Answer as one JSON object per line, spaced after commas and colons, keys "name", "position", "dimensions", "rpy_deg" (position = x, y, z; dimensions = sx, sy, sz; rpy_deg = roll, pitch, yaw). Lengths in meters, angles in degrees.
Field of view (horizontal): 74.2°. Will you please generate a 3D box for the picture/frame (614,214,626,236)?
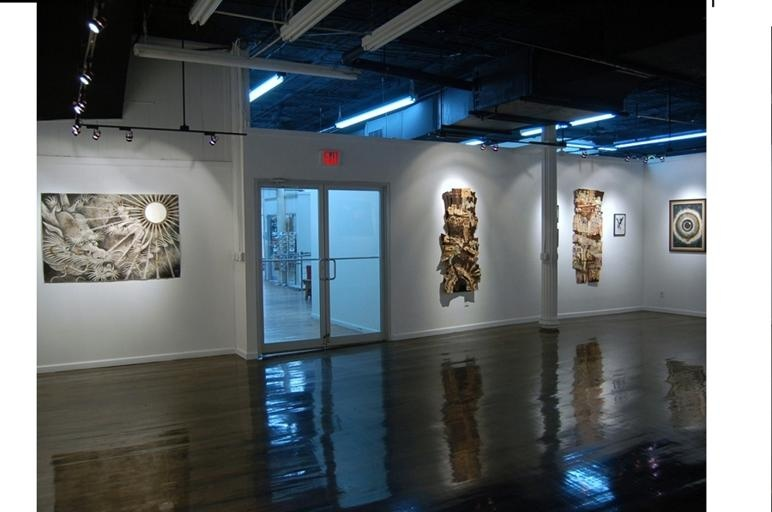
{"name": "picture/frame", "position": [5.225, -0.701, 11.432], "dimensions": [0.478, 0.650, 0.041], "rpy_deg": [-2, 2, -38]}
